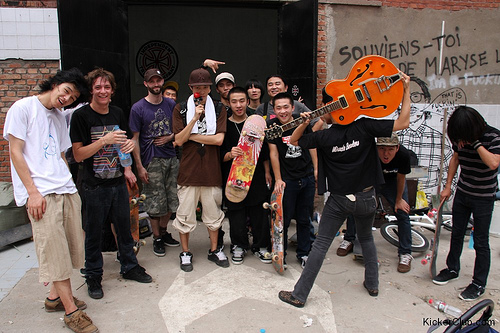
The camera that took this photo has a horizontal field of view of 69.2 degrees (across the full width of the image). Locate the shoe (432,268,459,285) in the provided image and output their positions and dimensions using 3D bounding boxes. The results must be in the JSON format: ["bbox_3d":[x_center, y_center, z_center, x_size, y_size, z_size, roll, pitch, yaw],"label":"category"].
[{"bbox_3d":[2.802,1.575,5.270,0.382,0.160,0.173,-2,8,-13],"label":"shoe"}]

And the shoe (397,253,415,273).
[{"bbox_3d":[2.374,1.448,5.590,0.178,0.215,0.391,5,15,26],"label":"shoe"}]

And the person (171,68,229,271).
[{"bbox_3d":[-0.758,0.019,5.451,0.852,2.905,0.808,-2,13,-5],"label":"person"}]

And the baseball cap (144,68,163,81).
[{"bbox_3d":[-1.514,-1.449,5.685,0.245,0.182,0.244,-5,14,-14],"label":"baseball cap"}]

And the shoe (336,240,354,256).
[{"bbox_3d":[1.554,1.332,5.977,0.139,0.156,0.390,8,9,40],"label":"shoe"}]

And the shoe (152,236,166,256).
[{"bbox_3d":[-1.474,1.264,5.904,0.190,0.248,0.326,-5,14,-16],"label":"shoe"}]

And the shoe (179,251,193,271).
[{"bbox_3d":[-0.958,1.404,5.481,0.188,0.212,0.316,-4,14,-12],"label":"shoe"}]

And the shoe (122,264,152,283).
[{"bbox_3d":[-1.566,1.540,5.249,0.488,0.216,0.180,1,-1,13],"label":"shoe"}]

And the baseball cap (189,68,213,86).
[{"bbox_3d":[-0.731,-1.338,5.385,0.303,0.253,0.215,-3,13,-10],"label":"baseball cap"}]

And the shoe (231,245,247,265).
[{"bbox_3d":[-0.173,1.371,5.632,0.213,0.255,0.649,0,-4,2],"label":"shoe"}]

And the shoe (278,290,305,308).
[{"bbox_3d":[0.540,1.718,4.748,0.292,0.136,0.137,28,22,33],"label":"shoe"}]

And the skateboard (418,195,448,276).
[{"bbox_3d":[3.032,1.184,6.046,0.380,1.153,0.170,2,9,-34],"label":"skateboard"}]

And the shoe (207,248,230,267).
[{"bbox_3d":[-0.470,1.377,5.607,0.428,0.197,0.196,11,18,42],"label":"shoe"}]

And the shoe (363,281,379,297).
[{"bbox_3d":[1.652,1.676,5.004,0.227,0.118,0.182,6,15,28],"label":"shoe"}]

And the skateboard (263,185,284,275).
[{"bbox_3d":[0.379,0.929,5.251,0.197,1.183,0.301,3,-1,-32],"label":"skateboard"}]

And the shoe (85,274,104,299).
[{"bbox_3d":[-2.061,1.585,4.852,0.187,0.288,0.205,-8,15,-27],"label":"shoe"}]

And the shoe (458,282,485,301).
[{"bbox_3d":[3.029,1.688,4.951,0.382,0.207,0.139,-5,14,-15],"label":"shoe"}]

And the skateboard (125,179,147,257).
[{"bbox_3d":[-1.779,0.789,5.691,0.367,1.165,0.194,-3,12,1],"label":"skateboard"}]

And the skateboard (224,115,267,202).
[{"bbox_3d":[-0.082,0.019,5.600,0.382,1.612,0.261,18,7,4],"label":"skateboard"}]
